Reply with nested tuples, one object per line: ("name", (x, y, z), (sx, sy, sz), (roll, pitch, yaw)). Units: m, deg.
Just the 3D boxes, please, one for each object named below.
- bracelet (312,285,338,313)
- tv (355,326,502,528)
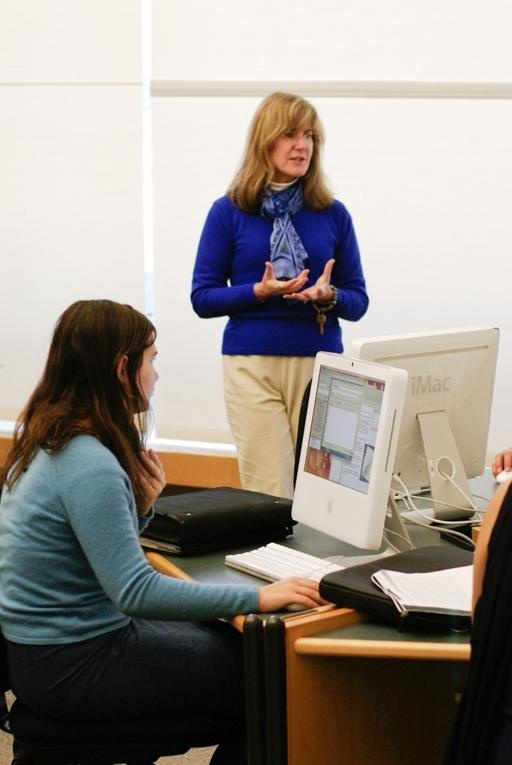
("bracelet", (0.235, -0.279, 2.285), (0.066, 0.041, 0.089), (-16, 13, 13))
("tv", (0.397, 0.103, 1.585), (0.472, 0.460, 0.169), (-5, 9, -37))
